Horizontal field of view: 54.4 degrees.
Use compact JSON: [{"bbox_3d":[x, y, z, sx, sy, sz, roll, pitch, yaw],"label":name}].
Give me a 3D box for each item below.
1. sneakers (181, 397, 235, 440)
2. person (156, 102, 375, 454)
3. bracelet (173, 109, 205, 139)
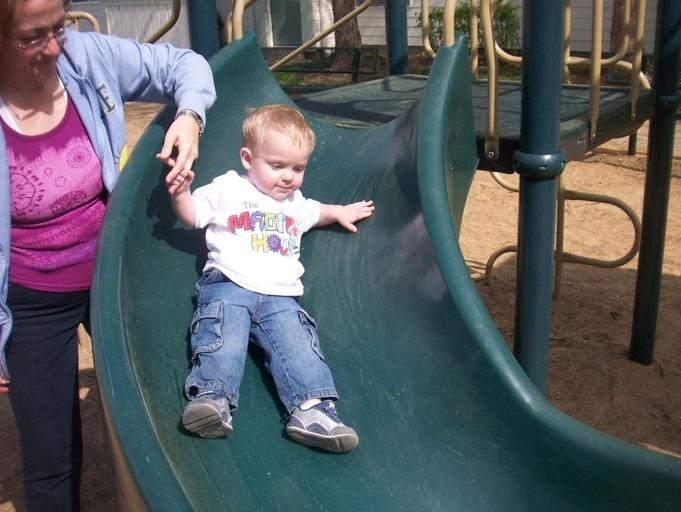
[{"bbox_3d":[-0.380,0.455,1.901,0.084,0.161,0.110,-18,45,3],"label":"sneakers"},{"bbox_3d":[-0.312,0.045,2.230,0.631,0.425,1.026,16,38,-32],"label":"person"},{"bbox_3d":[-0.488,-0.430,2.148,0.075,0.084,0.026,30,50,27],"label":"bracelet"}]
